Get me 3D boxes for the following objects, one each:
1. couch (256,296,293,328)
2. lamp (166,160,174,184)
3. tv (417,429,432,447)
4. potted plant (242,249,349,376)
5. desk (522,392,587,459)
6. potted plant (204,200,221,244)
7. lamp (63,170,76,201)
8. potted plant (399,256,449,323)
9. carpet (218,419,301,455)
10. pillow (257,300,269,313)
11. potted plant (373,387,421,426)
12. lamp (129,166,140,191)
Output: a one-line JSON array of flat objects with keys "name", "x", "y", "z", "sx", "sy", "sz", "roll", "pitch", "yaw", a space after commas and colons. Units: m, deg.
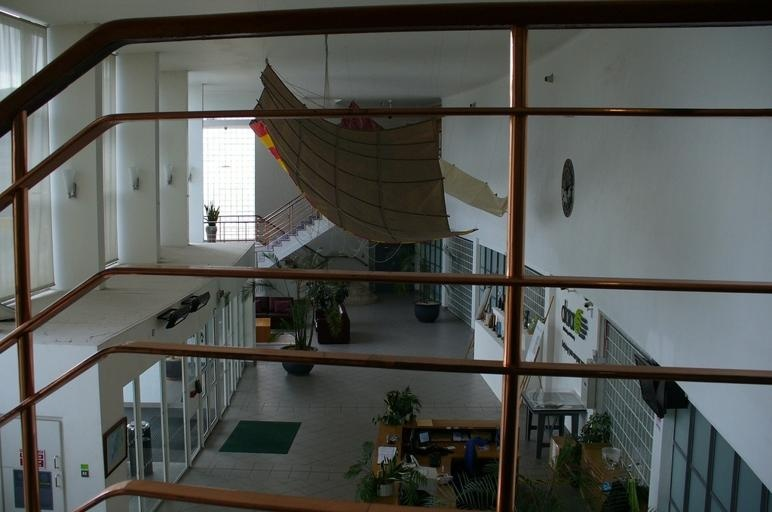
[{"name": "couch", "x": -2.840, "y": 1.375, "z": 14.588, "sx": 1.060, "sy": 0.760, "sz": 0.548, "roll": 6, "pitch": -3, "yaw": -24}, {"name": "lamp", "x": -3.784, "y": -1.459, "z": 10.416, "sx": 0.113, "sy": 0.383, "sz": 0.086, "roll": -3, "pitch": 9, "yaw": -17}, {"name": "tv", "x": 0.466, "y": 2.235, "z": 7.293, "sx": 0.142, "sy": 0.203, "sz": 0.107, "roll": -1, "pitch": 2, "yaw": -6}, {"name": "potted plant", "x": -1.780, "y": 1.119, "z": 12.352, "sx": 1.882, "sy": 2.544, "sz": 2.112, "roll": -7, "pitch": -14, "yaw": 40}, {"name": "desk", "x": 2.202, "y": 2.062, "z": 7.467, "sx": 0.841, "sy": 0.596, "sz": 0.820, "roll": 0, "pitch": 11, "yaw": 31}, {"name": "potted plant", "x": -3.984, "y": -0.806, "z": 13.594, "sx": 0.285, "sy": 0.828, "sz": 1.295, "roll": -3, "pitch": 9, "yaw": -16}, {"name": "lamp", "x": -3.782, "y": -0.870, "z": 7.122, "sx": 0.139, "sy": 0.337, "sz": 0.125, "roll": -2, "pitch": 8, "yaw": -9}, {"name": "potted plant", "x": 0.806, "y": 0.792, "z": 14.823, "sx": 0.962, "sy": 1.702, "sz": 1.012, "roll": -3, "pitch": 4, "yaw": 13}, {"name": "carpet", "x": -1.765, "y": 2.580, "z": 8.492, "sx": 0.976, "sy": 0.038, "sz": 1.048, "roll": 0, "pitch": 9, "yaw": 4}, {"name": "pillow", "x": -3.083, "y": 1.259, "z": 14.854, "sx": 0.275, "sy": 0.268, "sz": 0.152, "roll": -1, "pitch": -9, "yaw": -2}, {"name": "potted plant", "x": 0.149, "y": 2.039, "z": 8.097, "sx": 0.612, "sy": 0.406, "sz": 0.522, "roll": 10, "pitch": 9, "yaw": 22}, {"name": "lamp", "x": -3.620, "y": -1.124, "z": 8.575, "sx": 0.146, "sy": 0.339, "sz": 0.089, "roll": -2, "pitch": 8, "yaw": -7}]
